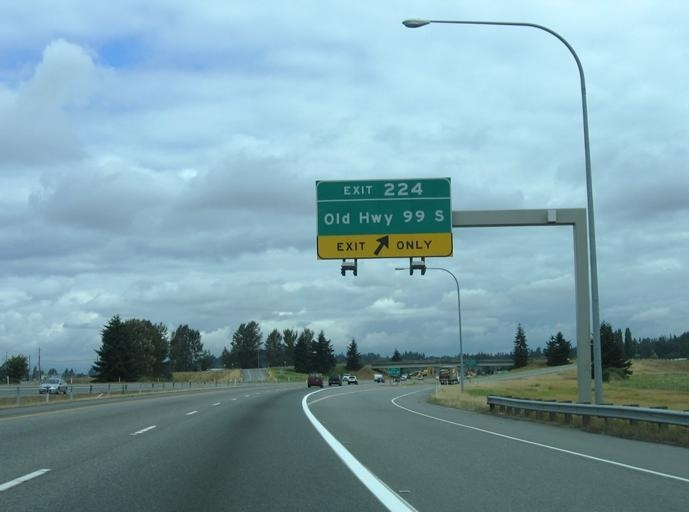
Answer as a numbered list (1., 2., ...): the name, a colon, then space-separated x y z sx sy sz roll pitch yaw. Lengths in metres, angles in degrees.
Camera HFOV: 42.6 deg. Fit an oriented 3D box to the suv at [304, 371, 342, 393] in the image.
1. suv: -2.816 12.897 88.984 2.066 1.784 3.832 -1 -3 11
